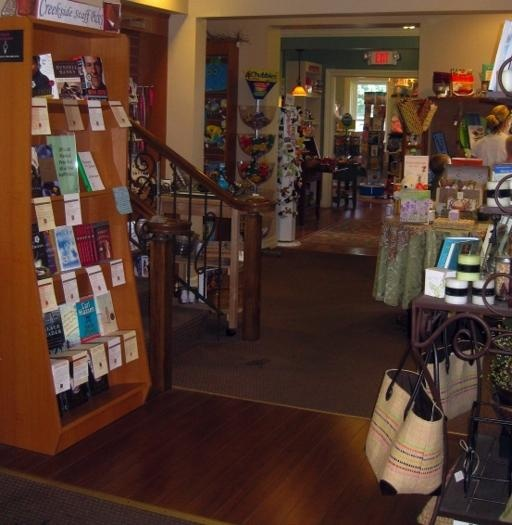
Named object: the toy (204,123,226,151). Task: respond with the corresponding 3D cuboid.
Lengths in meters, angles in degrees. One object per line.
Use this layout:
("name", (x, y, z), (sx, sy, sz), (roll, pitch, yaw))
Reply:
("toy", (-0.689, -2.116, 7.667), (0.320, 0.410, 0.210), (2, 5, 17))

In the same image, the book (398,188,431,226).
("book", (1.360, -0.471, 3.921), (0.380, 0.405, 0.050), (1, 0, 18))

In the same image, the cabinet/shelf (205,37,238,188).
("cabinet/shelf", (-0.598, -2.549, 7.575), (0.609, 2.393, 0.316), (3, 5, 8))

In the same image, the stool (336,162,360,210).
("stool", (2.490, -2.114, 12.529), (0.932, 1.180, 1.307), (-2, 18, 0))

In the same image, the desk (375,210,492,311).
("desk", (1.313, -0.001, 3.944), (1.011, 0.675, 0.928), (2, 15, 0))

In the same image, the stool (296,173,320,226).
("stool", (1.149, -1.413, 10.305), (0.440, 0.734, 1.263), (2, 12, 9))
